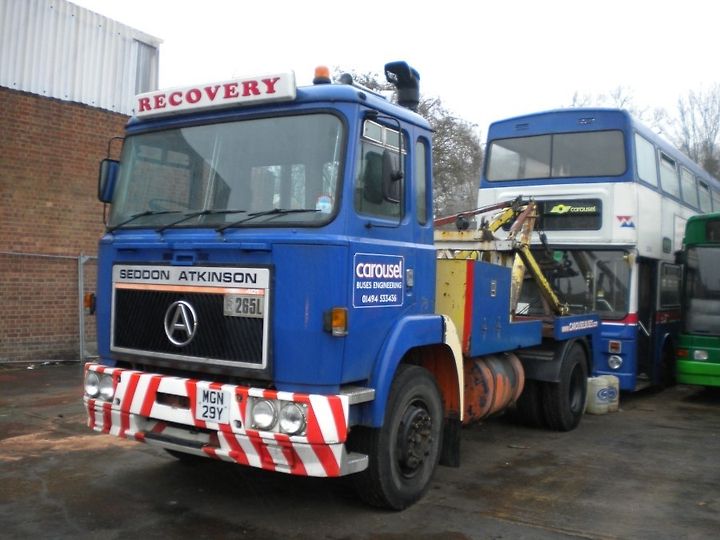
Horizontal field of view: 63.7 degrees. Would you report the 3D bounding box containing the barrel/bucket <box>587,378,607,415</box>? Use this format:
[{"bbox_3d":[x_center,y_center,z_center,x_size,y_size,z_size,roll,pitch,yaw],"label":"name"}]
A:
[{"bbox_3d":[4.152,2.240,10.281,0.474,0.548,0.507,2,-6,0],"label":"barrel/bucket"}]

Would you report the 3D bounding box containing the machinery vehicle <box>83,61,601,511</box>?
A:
[{"bbox_3d":[0.212,0.453,8.171,2.820,4.229,7.034,-4,-6,34],"label":"machinery vehicle"}]
